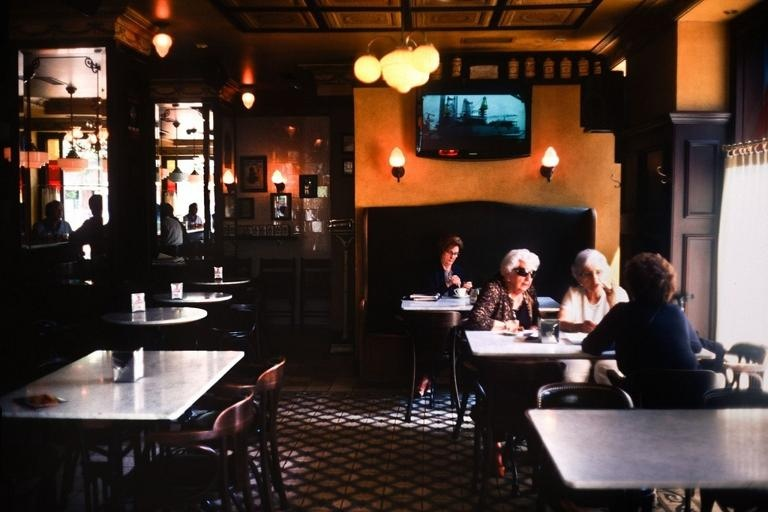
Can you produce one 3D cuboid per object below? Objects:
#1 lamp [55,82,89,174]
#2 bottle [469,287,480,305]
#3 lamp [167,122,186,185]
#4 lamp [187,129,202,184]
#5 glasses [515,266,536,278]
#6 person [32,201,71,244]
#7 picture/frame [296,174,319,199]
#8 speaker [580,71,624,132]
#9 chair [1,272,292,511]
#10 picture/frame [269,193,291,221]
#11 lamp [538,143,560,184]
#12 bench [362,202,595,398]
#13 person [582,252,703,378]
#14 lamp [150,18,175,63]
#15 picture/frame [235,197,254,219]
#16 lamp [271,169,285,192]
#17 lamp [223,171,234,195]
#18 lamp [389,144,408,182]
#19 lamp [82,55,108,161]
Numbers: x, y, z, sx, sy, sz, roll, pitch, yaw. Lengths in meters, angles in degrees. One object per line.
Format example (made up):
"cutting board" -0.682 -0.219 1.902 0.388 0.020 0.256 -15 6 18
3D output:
"lamp" -5.142 -2.074 11.674 0.633 1.330 0.649 12 13 38
"bottle" 0.975 0.429 7.457 0.141 0.189 0.125 2 -7 -3
"lamp" -3.424 -1.668 11.709 0.240 0.910 1.277 -1 5 -17
"lamp" -3.173 -1.677 11.958 0.228 0.878 0.896 -1 5 -15
"glasses" 1.354 0.151 6.576 0.214 0.104 0.096 -3 5 -35
"person" -4.355 -0.455 9.364 0.350 0.527 0.711 0 4 -5
"picture/frame" -1.179 -1.101 11.655 0.479 0.587 0.326 1 0 -4
"speaker" 2.598 -1.802 8.294 0.493 0.690 0.230 1 5 11
"chair" -1.744 0.980 5.355 1.597 0.903 1.537 1 2 7
"picture/frame" -1.657 -0.791 11.537 0.496 0.596 0.064 1 3 -1
"lamp" 2.036 -1.099 8.561 0.241 0.409 0.227 1 5 12
"bench" 1.191 0.169 8.238 2.517 1.609 1.315 1 0 11
"person" 2.137 0.564 5.759 0.888 1.160 0.772 6 -13 -20
"lamp" -2.551 -2.444 8.149 0.181 0.303 0.218 -20 -22 35
"picture/frame" -2.259 -0.773 11.564 0.389 0.428 0.046 0 3 -4
"lamp" -1.677 -1.192 11.442 0.219 0.359 0.229 -1 4 -10
"lamp" -2.469 -1.185 11.372 0.180 0.380 0.317 -1 4 -10
"lamp" 0.184 -1.097 8.582 0.214 0.398 0.220 0 4 -1
"lamp" -4.579 -2.345 10.992 0.262 1.428 0.401 15 14 29
